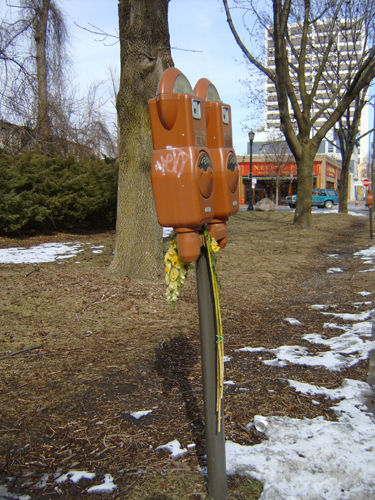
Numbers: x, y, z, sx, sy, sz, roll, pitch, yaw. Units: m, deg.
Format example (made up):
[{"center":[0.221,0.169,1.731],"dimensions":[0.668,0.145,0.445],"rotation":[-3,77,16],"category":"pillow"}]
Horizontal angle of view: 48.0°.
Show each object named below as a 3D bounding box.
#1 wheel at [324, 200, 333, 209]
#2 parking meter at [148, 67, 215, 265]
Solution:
[{"center":[11.719,-3.751,35.078],"dimensions":[0.840,0.873,0.306],"rotation":[-2,5,4],"category":"wheel"},{"center":[-0.023,-0.309,1.610],"dimensions":[0.220,0.760,0.262],"rotation":[0,5,8],"category":"parking meter"}]
